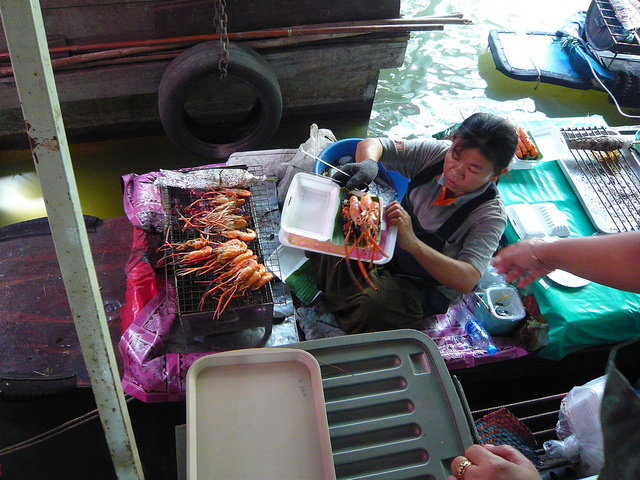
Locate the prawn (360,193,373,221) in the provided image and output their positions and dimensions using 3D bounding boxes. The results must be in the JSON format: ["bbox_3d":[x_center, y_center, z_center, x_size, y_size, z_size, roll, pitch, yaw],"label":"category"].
[{"bbox_3d":[0.349,-0.251,3.481,0.065,0.073,0.203,8,66,-9],"label":"prawn"}]

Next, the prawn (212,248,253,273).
[{"bbox_3d":[-0.648,0.125,3.502,0.244,0.058,0.129,-35,20,-8],"label":"prawn"}]

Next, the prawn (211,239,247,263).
[{"bbox_3d":[-0.689,0.071,3.532,0.229,0.085,0.136,-19,45,-36],"label":"prawn"}]

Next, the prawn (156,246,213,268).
[{"bbox_3d":[-1.013,0.129,3.505,0.304,0.042,0.072,-24,56,-16],"label":"prawn"}]

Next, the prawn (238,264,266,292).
[{"bbox_3d":[-0.493,0.286,3.463,0.235,0.056,0.131,-41,69,-13],"label":"prawn"}]

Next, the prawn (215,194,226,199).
[{"bbox_3d":[-0.836,-0.361,3.850,0.044,0.011,0.041,-12,26,7],"label":"prawn"}]

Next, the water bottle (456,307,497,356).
[{"bbox_3d":[1.342,0.790,3.978,0.181,0.127,0.469,-22,65,-20],"label":"water bottle"}]

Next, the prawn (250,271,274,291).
[{"bbox_3d":[-0.452,0.297,3.507,0.180,0.104,0.048,-36,53,7],"label":"prawn"}]

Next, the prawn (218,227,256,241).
[{"bbox_3d":[-0.663,-0.035,3.694,0.221,0.049,0.131,6,23,-5],"label":"prawn"}]

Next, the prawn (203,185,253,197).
[{"bbox_3d":[-0.747,-0.403,3.914,0.249,0.054,0.137,-4,27,-13],"label":"prawn"}]

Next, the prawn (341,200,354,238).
[{"bbox_3d":[0.204,-0.165,3.614,0.069,0.107,0.304,-3,80,3],"label":"prawn"}]
